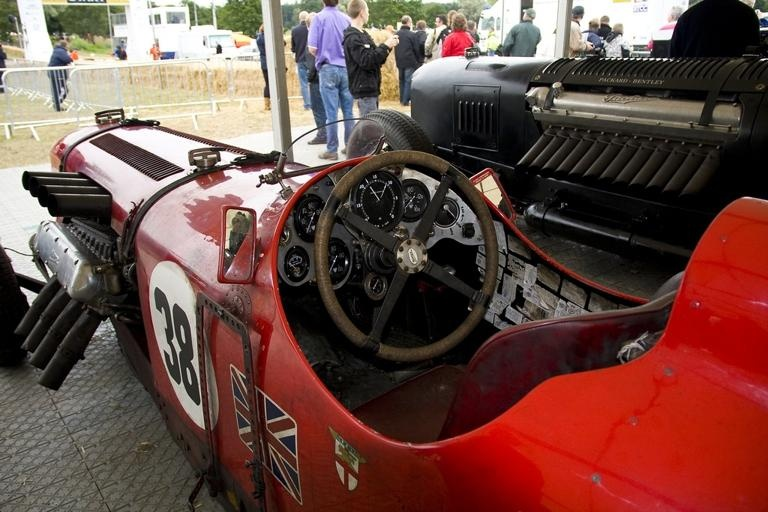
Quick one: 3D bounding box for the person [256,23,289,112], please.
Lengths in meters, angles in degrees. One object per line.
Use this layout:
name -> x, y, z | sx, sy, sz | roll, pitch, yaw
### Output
person -> -1.663, -2.768, 7.313 | 0.337, 1.178, 0.326 | 4, 24, 1

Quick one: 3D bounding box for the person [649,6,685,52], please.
person -> 5.699, -4.647, 10.219 | 0.394, 0.853, 2.269 | 14, 28, 22

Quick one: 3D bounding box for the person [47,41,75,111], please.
person -> -5.064, -2.818, 7.875 | 0.346, 0.912, 1.711 | -10, 30, -28
